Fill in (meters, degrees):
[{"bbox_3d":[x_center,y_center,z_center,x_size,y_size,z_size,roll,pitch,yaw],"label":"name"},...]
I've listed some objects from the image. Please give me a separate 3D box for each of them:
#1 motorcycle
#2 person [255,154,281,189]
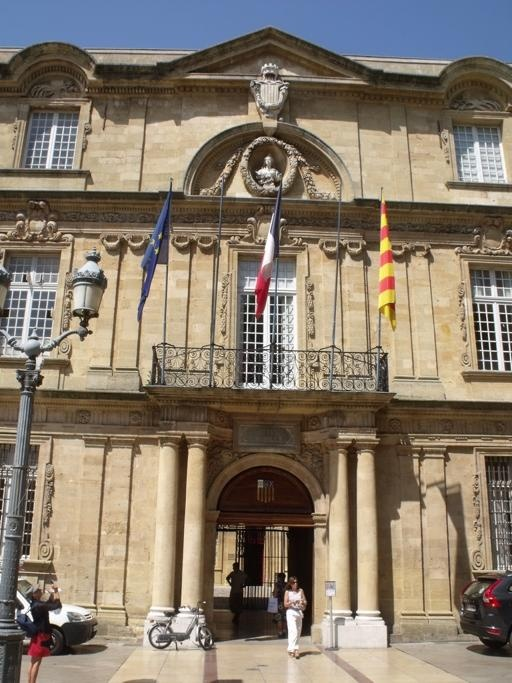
[{"bbox_3d":[-1.559,5.760,15.079,1.215,0.877,1.311,-7,-20,22],"label":"motorcycle"},{"bbox_3d":[0.285,-4.413,19.564,0.657,1.246,0.434,1,-20,2],"label":"person"}]
